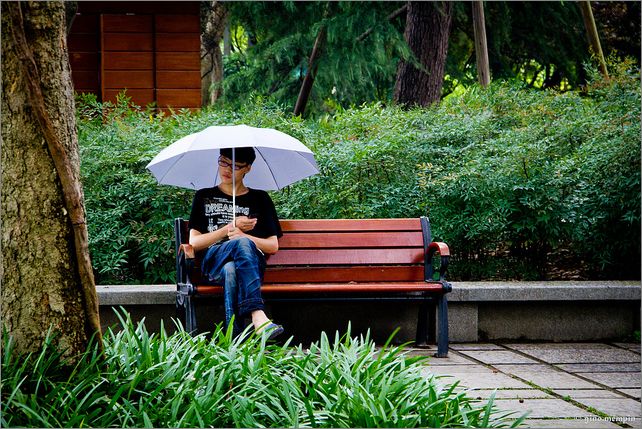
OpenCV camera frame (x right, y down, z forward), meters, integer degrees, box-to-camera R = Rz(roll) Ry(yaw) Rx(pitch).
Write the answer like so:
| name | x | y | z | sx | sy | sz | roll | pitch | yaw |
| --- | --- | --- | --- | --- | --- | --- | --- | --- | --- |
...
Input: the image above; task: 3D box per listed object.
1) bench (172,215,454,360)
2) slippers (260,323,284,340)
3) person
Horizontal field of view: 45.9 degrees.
| name | x | y | z | sx | sy | sz | roll | pitch | yaw |
| --- | --- | --- | --- | --- | --- | --- | --- | --- | --- |
| bench | -0.049 | 0.628 | 6.860 | 2.400 | 1.080 | 0.828 | 1 | 3 | -16 |
| slippers | -0.387 | 0.938 | 6.031 | 0.101 | 0.077 | 0.282 | -30 | 0 | -29 |
| person | -0.667 | 0.196 | 6.604 | 0.788 | 1.575 | 1.020 | -4 | 6 | -30 |
